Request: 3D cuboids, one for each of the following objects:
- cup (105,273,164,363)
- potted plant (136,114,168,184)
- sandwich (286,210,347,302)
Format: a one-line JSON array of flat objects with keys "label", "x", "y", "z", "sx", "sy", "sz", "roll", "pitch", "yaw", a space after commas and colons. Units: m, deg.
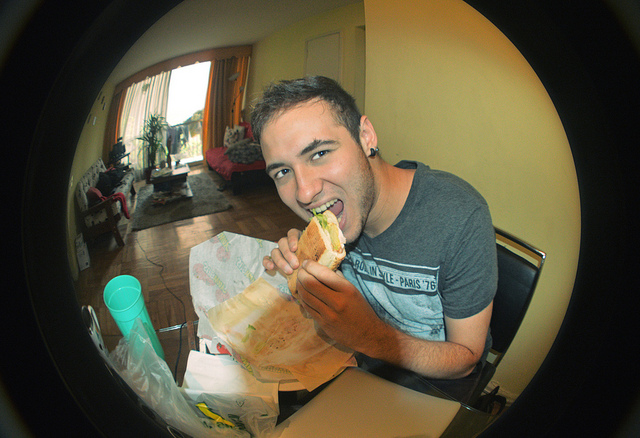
[{"label": "cup", "x": -0.436, "y": 0.275, "z": 0.992, "sx": 0.056, "sy": 0.200, "sz": 0.058, "roll": -9, "pitch": 36, "yaw": 6}, {"label": "potted plant", "x": -0.372, "y": -0.151, "z": 0.878, "sx": 0.078, "sy": 0.149, "sz": 0.040, "roll": 6, "pitch": 8, "yaw": 37}, {"label": "sandwich", "x": 0.001, "y": 0.058, "z": 0.975, "sx": 0.050, "sy": 0.142, "sz": 0.145, "roll": 10, "pitch": 44, "yaw": -33}]
